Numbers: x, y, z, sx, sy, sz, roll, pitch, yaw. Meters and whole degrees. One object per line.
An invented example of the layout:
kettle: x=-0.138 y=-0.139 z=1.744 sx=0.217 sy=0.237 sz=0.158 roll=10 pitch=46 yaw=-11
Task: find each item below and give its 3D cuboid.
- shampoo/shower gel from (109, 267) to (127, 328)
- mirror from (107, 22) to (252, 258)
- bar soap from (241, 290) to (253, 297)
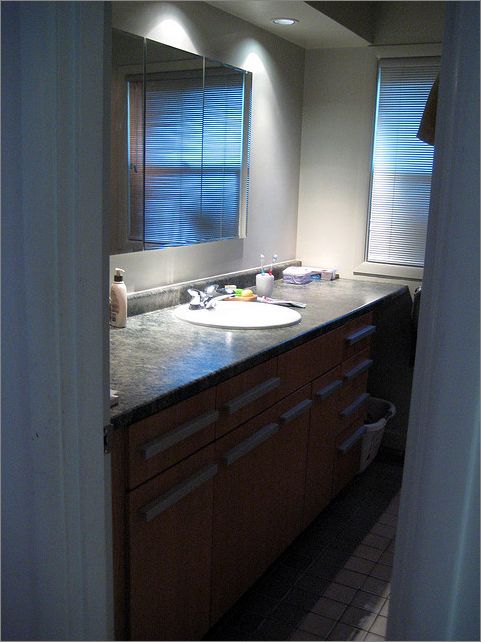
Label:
shampoo/shower gel: x=-0.425 y=-0.073 z=1.784 sx=0.052 sy=0.208 sz=0.066 roll=-1 pitch=9 yaw=-15
mirror: x=-0.246 y=-0.720 z=2.014 sx=0.041 sy=0.858 sz=1.094 roll=10 pitch=17 yaw=25
bar soap: x=0.028 y=-0.128 z=2.334 sx=0.050 sy=0.025 sz=0.114 roll=1 pitch=10 yaw=-2
